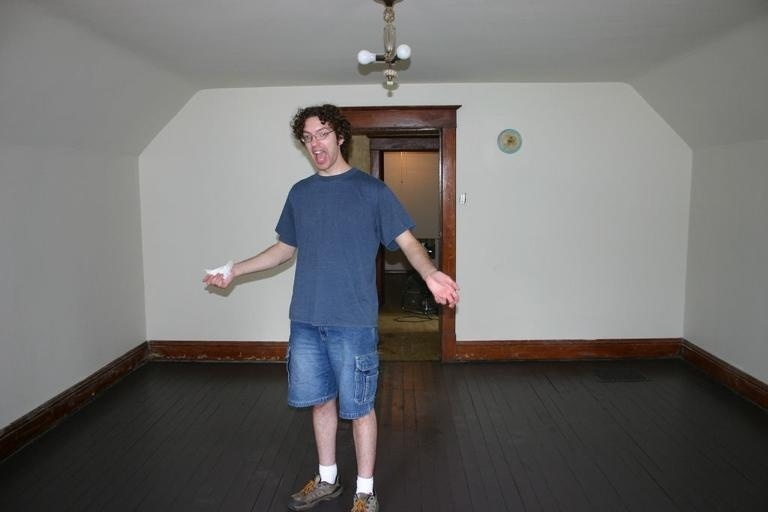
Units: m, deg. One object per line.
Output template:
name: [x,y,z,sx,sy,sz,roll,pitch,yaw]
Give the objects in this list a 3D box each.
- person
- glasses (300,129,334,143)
person: [-0.261,0.349,3.159,1.280,2.594,0.521,0,5,31]
glasses: [-0.428,-0.735,3.111,0.234,0.103,0.078,-1,4,18]
